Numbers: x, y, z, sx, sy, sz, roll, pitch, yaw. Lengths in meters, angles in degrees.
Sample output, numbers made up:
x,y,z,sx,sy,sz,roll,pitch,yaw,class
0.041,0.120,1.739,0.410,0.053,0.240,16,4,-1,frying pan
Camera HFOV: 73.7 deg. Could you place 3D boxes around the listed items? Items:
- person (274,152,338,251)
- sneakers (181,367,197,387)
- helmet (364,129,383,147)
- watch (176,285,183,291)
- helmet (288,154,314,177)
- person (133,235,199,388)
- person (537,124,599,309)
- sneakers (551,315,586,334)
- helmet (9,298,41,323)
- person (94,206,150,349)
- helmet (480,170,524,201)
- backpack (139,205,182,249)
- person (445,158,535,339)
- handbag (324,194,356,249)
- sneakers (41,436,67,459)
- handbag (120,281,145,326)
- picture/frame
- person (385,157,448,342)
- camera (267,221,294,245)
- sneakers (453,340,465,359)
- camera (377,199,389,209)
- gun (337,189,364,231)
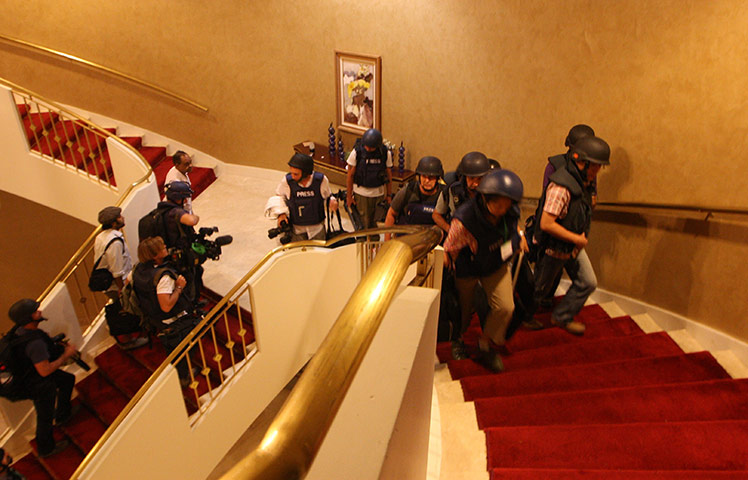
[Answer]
x,y,z,sx,sy,sz,roll,pitch,yaw,class
-0.961,-0.546,6.868,0.863,1.241,0.510,2,8,-13,person
-2.290,1.697,6.155,0.125,0.206,0.375,-24,-18,-25,sneakers
-0.005,-1.491,7.345,0.223,0.223,0.292,14,54,-1,helmet
-2.360,0.593,6.071,0.052,0.076,0.072,9,9,36,watch
-0.973,-1.082,6.745,0.254,0.321,0.342,36,53,23,helmet
-2.562,0.678,6.194,0.622,1.415,0.610,9,9,32,person
2.269,-0.217,5.745,0.717,2.421,0.784,13,51,24,person
2.298,0.994,5.917,0.433,0.192,0.165,9,32,21,sneakers
-4.062,0.843,5.906,0.243,0.329,0.167,42,-8,9,helmet
-3.518,0.486,7.061,0.887,1.981,0.772,-8,29,-30,person
1.222,-0.537,4.680,0.332,0.278,0.307,31,31,31,helmet
-2.827,-0.205,6.657,0.578,0.646,0.453,6,12,7,backpack
1.110,0.248,5.055,0.721,1.914,0.687,8,8,27,person
-0.476,-0.262,6.957,0.396,0.756,0.303,21,51,17,handbag
-3.934,2.572,6.126,0.122,0.241,0.248,34,39,25,sneakers
-3.000,0.793,6.205,0.352,0.491,0.456,-11,-9,-35,handbag
-0.257,-2.484,8.441,0.969,1.322,0.272,9,9,32,picture/frame
0.558,0.094,6.314,0.923,2.190,0.838,-4,23,-17,person
-1.349,-0.118,7.076,0.405,0.310,0.151,-18,29,-8,camera
0.944,1.212,5.472,0.080,0.097,0.245,0,36,5,sneakers
0.166,-0.553,7.588,0.121,0.178,0.071,-1,-9,11,camera
-0.332,-0.453,7.541,0.182,0.714,0.324,-29,-25,-5,gun
